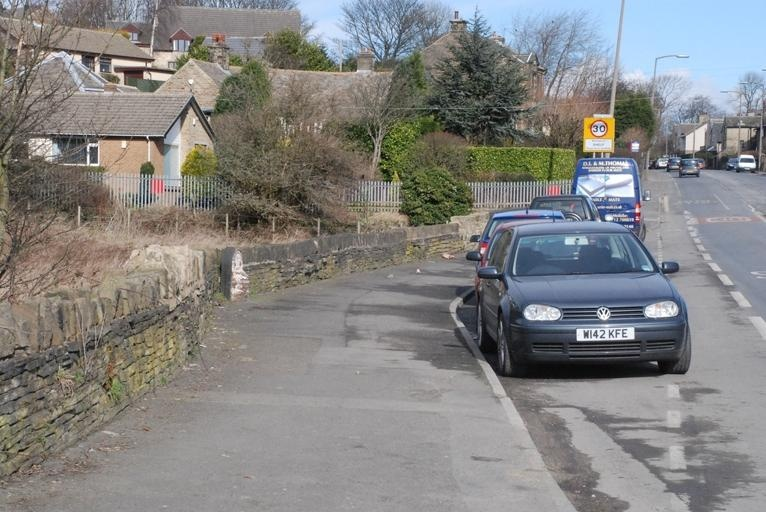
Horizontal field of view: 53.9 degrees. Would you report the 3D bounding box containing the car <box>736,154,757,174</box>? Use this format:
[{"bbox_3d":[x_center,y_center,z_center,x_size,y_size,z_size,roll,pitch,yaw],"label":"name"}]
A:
[{"bbox_3d":[43.964,-11.170,91.208,1.986,1.929,3.692,4,9,22],"label":"car"}]

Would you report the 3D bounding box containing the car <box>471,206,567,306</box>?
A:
[{"bbox_3d":[2.914,-0.071,16.981,1.591,1.438,2.678,0,9,3],"label":"car"}]

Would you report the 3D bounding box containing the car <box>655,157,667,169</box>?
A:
[{"bbox_3d":[39.075,-13.079,105.656,1.132,1.078,2.096,1,10,8],"label":"car"}]

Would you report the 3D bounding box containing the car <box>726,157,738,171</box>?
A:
[{"bbox_3d":[46.148,-12.197,99.354,1.405,1.394,2.597,1,4,18],"label":"car"}]

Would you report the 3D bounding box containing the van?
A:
[{"bbox_3d":[8.584,-2.233,28.587,2.550,2.572,4.505,0,6,14],"label":"van"}]

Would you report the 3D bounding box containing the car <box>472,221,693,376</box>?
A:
[{"bbox_3d":[2.846,0.683,10.923,3.032,2.085,2.398,5,9,29],"label":"car"}]

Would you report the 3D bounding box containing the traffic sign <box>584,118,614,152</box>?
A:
[{"bbox_3d":[10.633,-6.025,37.107,1.610,2.007,0.247,0,-2,24],"label":"traffic sign"}]
